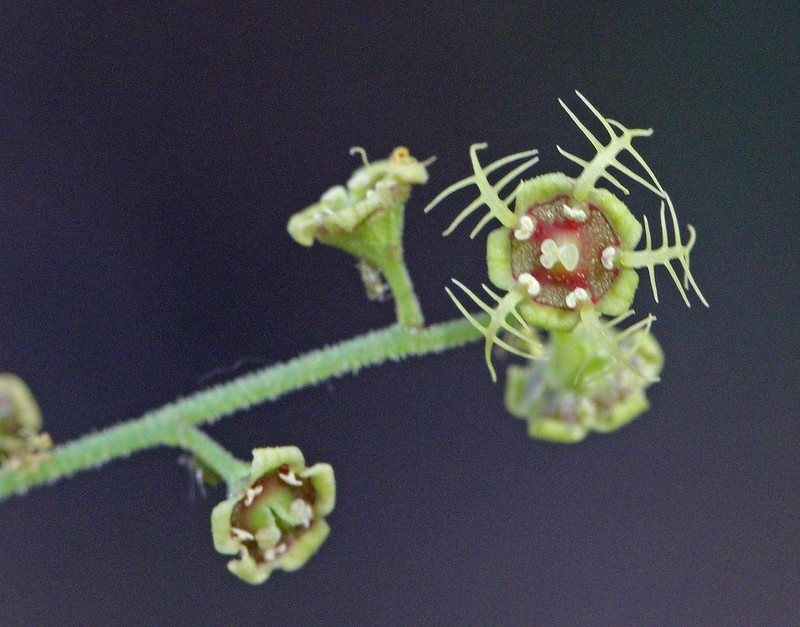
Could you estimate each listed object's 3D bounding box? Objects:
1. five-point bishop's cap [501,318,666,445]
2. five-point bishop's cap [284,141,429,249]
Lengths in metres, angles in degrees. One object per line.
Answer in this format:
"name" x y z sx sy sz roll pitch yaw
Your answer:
"five-point bishop's cap" 0.535 0.186 3.289 0.218 0.269 0.264 -11 27 -9
"five-point bishop's cap" -0.089 -0.286 3.410 0.529 0.190 0.305 -32 -1 -23
